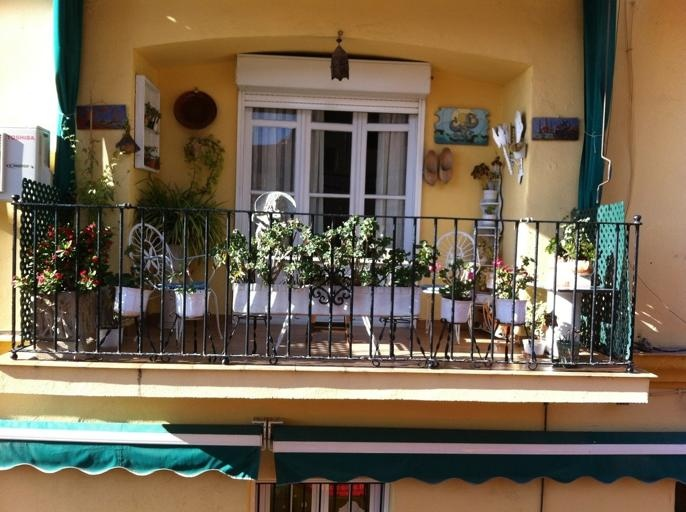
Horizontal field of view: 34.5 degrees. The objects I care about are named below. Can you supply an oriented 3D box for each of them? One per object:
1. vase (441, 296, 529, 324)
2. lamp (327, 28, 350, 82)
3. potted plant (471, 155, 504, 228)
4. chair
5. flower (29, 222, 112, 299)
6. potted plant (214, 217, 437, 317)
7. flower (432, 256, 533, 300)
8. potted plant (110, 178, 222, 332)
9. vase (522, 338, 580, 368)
[{"bbox_3d":[1.466,0.559,11.502,0.881,0.274,0.658,2,-3,5],"label":"vase"},{"bbox_3d":[-0.030,-2.281,12.620,0.190,0.535,0.251,1,-2,2],"label":"lamp"},{"bbox_3d":[1.711,-0.749,12.986,0.349,0.908,0.534,2,-2,-5],"label":"potted plant"},{"bbox_3d":[1.171,0.316,11.734,0.392,1.094,0.536,2,9,20],"label":"chair"},{"bbox_3d":[-2.816,0.037,11.496,0.659,0.556,0.683,-18,20,-29],"label":"flower"},{"bbox_3d":[-0.178,0.092,11.398,2.158,1.013,0.767,2,-2,-4],"label":"potted plant"},{"bbox_3d":[1.541,0.238,11.837,0.597,0.382,0.606,1,4,13],"label":"flower"},{"bbox_3d":[-2.130,0.000,12.310,1.151,2.056,1.419,-1,0,4],"label":"potted plant"},{"bbox_3d":[2.175,0.997,11.601,0.563,0.276,0.735,2,-3,10],"label":"vase"}]
